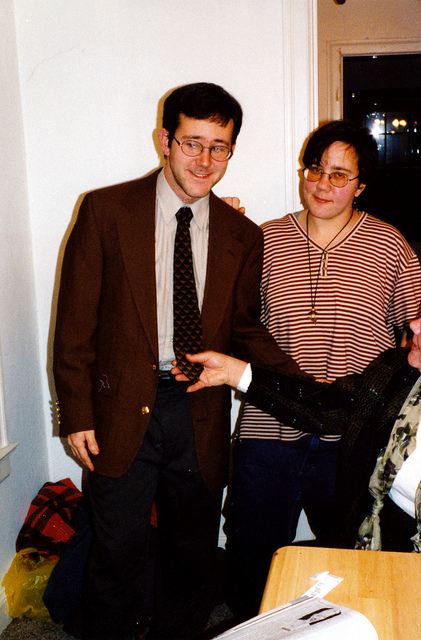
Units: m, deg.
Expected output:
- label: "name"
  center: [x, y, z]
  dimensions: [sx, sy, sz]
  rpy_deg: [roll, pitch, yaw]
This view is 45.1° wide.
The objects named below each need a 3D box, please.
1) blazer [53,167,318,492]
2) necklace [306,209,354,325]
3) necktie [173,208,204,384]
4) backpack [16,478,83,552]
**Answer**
- label: "blazer"
  center: [-0.047, 0.041, 1.390]
  dimensions: [0.680, 0.835, 0.346]
  rpy_deg: [7, 19, -8]
- label: "necklace"
  center: [0.351, -0.145, 1.490]
  dimensions: [0.104, 0.321, 0.111]
  rpy_deg: [1, 20, 5]
- label: "necktie"
  center: [-0.068, -0.102, 1.303]
  dimensions: [0.069, 0.446, 0.043]
  rpy_deg: [-6, -12, 16]
- label: "backpack"
  center: [-0.566, 0.736, 1.918]
  dimensions: [0.277, 0.104, 0.319]
  rpy_deg: [3, 6, 12]
